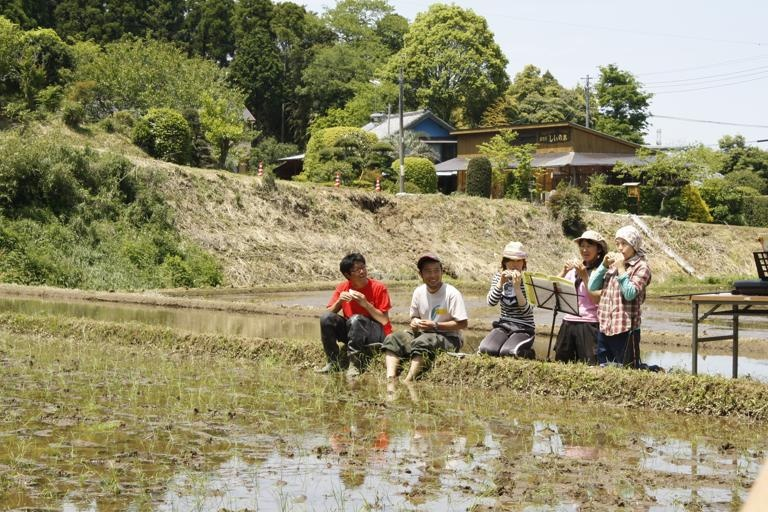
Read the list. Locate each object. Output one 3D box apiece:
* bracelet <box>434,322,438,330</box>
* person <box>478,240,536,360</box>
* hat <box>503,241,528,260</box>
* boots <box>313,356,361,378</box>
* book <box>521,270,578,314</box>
[{"bbox_3d":[1.327,1.745,30.485,0.079,0.200,0.062,2,5,5],"label":"bracelet"},{"bbox_3d":[3.256,1.069,30.559,1.294,2.936,0.794,2,5,7],"label":"person"},{"bbox_3d":[3.400,-0.234,31.081,0.595,0.440,1.395,2,6,5],"label":"hat"},{"bbox_3d":[-1.171,2.818,30.780,1.405,0.704,0.465,5,-12,0],"label":"boots"},{"bbox_3d":[4.283,0.891,30.672,1.044,0.838,0.134,8,31,23],"label":"book"}]
